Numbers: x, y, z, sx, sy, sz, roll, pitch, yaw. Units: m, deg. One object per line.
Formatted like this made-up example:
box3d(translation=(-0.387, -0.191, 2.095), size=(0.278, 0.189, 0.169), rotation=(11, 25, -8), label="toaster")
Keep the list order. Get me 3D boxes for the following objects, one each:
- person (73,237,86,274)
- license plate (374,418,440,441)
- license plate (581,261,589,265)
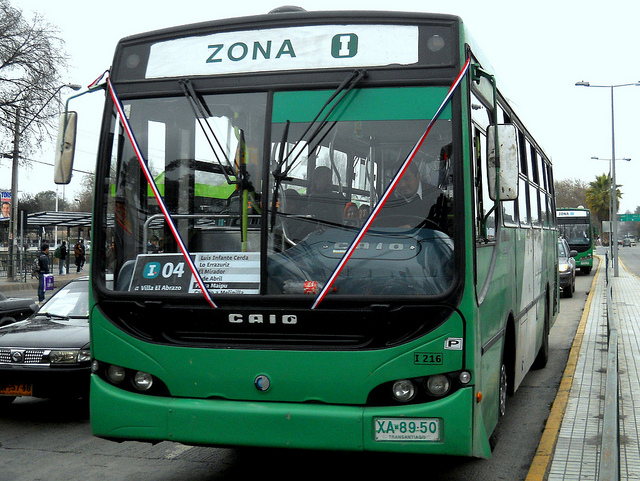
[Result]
box3d(translation=(-13.630, 0.733, 34.006), size=(0.603, 1.621, 0.494), rotation=(0, -29, -3), label="person")
box3d(translation=(0.626, 1.341, 4.254), size=(0.453, 0.151, 0.024), rotation=(-1, -1, 4), label="license plate")
box3d(translation=(15.067, 1.230, 33.781), size=(0.430, 0.147, 0.220), rotation=(-1, 0, 15), label="license plate")
